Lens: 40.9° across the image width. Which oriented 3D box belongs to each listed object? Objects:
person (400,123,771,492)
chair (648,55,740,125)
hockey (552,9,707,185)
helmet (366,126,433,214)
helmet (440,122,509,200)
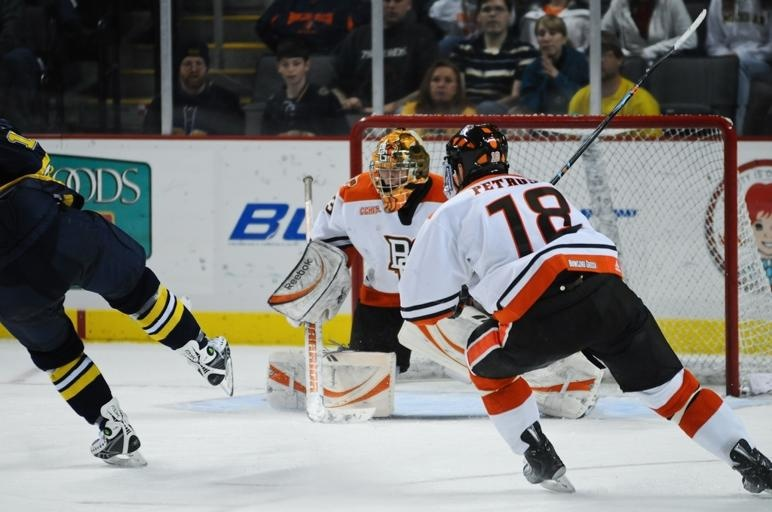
[{"bbox_3d":[0.900,0.388,5.066,1.645,1.506,0.427,4,15,17],"label":"person"},{"bbox_3d":[2.220,-1.240,7.787,0.521,0.670,0.547,1,-8,2],"label":"chair"},{"bbox_3d":[1.734,-1.106,7.301,0.151,1.965,0.161,52,30,19],"label":"hockey"},{"bbox_3d":[0.080,-0.499,5.878,0.445,0.533,0.389,-10,12,-43],"label":"helmet"},{"bbox_3d":[0.452,-0.507,5.233,0.302,0.345,0.366,1,0,-11],"label":"helmet"}]
